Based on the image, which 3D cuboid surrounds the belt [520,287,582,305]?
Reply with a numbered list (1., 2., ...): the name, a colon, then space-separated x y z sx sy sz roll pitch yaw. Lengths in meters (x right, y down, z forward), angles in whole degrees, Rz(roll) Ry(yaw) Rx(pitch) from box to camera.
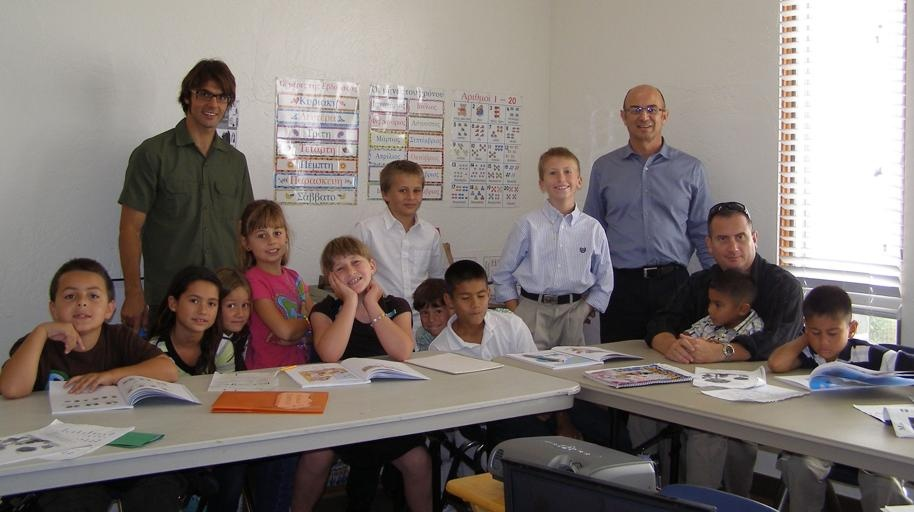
1. belt: 0.633 0.260 3.979 0.398 0.085 0.092 1 13 5
